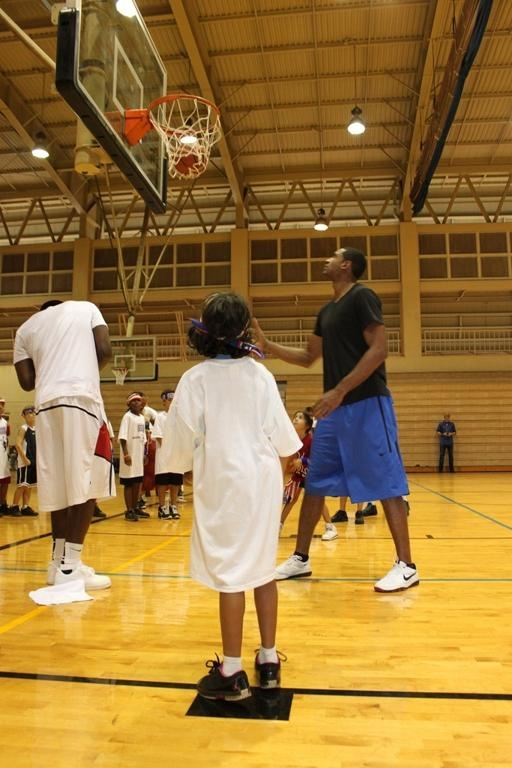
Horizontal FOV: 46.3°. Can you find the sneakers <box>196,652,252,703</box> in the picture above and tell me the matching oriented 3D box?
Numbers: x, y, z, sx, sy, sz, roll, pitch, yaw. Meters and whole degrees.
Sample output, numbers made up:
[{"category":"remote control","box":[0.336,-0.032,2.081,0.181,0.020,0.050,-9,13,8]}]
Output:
[{"category":"sneakers","box":[-0.088,0.758,1.529,0.061,0.079,0.156,6,-16,-14]}]

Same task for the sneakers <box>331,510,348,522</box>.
[{"category":"sneakers","box":[0.760,1.197,5.437,0.144,0.099,0.078,5,-5,17]}]

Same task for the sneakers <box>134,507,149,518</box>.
[{"category":"sneakers","box":[-1.119,1.286,5.972,0.063,0.085,0.197,2,-5,15]}]

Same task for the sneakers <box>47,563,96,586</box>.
[{"category":"sneakers","box":[-0.855,0.850,2.704,0.267,0.114,0.093,-1,-7,0]}]

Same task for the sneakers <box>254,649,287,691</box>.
[{"category":"sneakers","box":[0.038,0.772,1.612,0.057,0.073,0.160,0,-16,3]}]

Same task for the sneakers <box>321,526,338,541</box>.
[{"category":"sneakers","box":[0.528,1.084,4.337,0.061,0.077,0.174,-5,-11,14]}]

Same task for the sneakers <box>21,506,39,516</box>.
[{"category":"sneakers","box":[-2.375,1.361,6.419,0.248,0.111,0.087,2,-3,-4]}]

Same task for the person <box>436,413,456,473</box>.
[{"category":"person","box":[4.339,1.363,13.618,0.433,1.281,0.682,-3,-5,17]}]

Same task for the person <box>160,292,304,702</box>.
[{"category":"person","box":[-0.060,0.271,1.631,0.389,1.071,0.218,-1,-5,-10]}]

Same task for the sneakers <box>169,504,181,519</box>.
[{"category":"sneakers","box":[-0.785,1.265,5.906,0.062,0.134,0.189,0,-29,-11]}]

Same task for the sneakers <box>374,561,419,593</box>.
[{"category":"sneakers","box":[0.619,0.843,2.625,0.085,0.103,0.235,-4,-8,42]}]

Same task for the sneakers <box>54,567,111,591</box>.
[{"category":"sneakers","box":[-0.769,0.856,2.686,0.248,0.110,0.105,2,-12,-15]}]
